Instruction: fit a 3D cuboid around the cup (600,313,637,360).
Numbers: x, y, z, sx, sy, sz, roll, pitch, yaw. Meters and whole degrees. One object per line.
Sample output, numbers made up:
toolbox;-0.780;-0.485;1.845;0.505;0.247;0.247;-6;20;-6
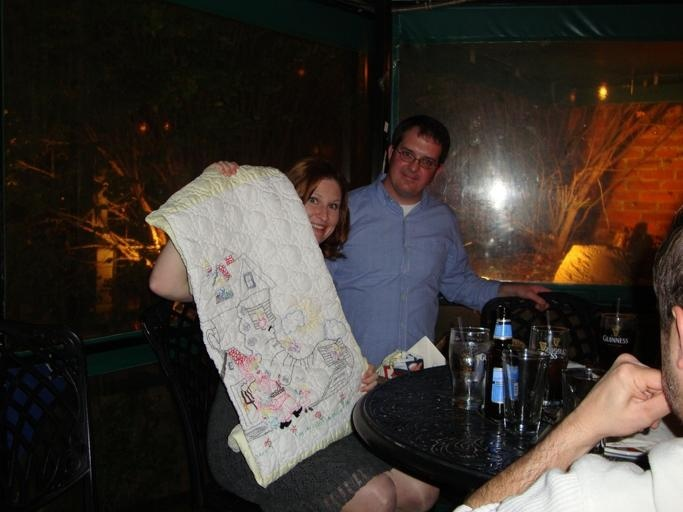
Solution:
cup;1.082;0.335;2.163;0.131;0.200;0.129;0;5;0

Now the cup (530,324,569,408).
cup;0.747;0.405;1.993;0.143;0.266;0.161;2;-7;9

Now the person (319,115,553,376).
person;0.530;-0.103;3.053;1.448;1.714;0.575;5;-5;-39
